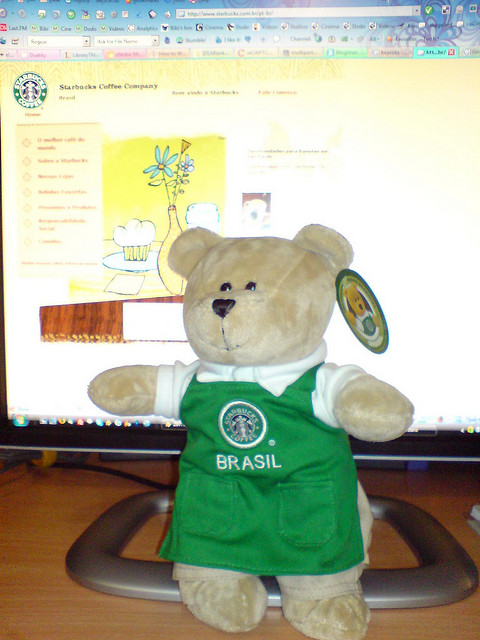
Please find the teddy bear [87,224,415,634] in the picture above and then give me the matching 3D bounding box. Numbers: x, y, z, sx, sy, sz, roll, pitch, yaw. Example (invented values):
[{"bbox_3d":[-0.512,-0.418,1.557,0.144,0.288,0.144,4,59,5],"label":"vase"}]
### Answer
[{"bbox_3d":[-0.005,0.077,0.497,0.237,0.307,0.174,-4,10,-28],"label":"teddy bear"}]
